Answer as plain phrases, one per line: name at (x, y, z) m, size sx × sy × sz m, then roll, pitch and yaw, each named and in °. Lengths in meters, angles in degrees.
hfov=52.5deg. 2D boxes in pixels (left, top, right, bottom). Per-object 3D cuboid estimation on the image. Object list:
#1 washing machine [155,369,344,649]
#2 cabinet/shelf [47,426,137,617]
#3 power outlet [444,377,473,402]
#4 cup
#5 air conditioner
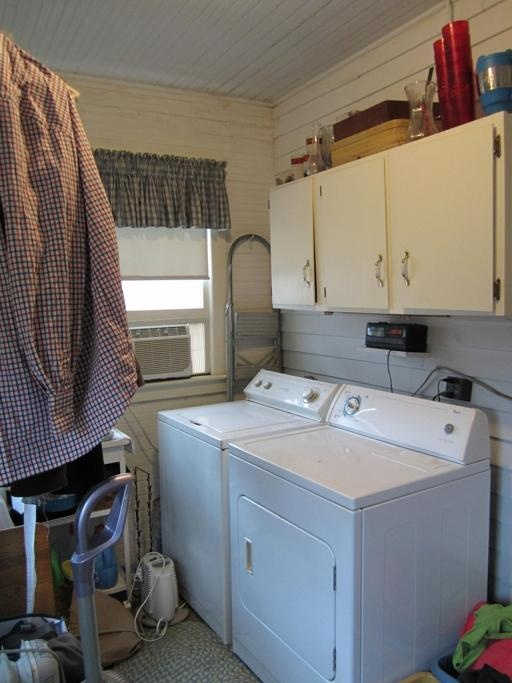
washing machine at (-0.172, 0.520, 2.996) m, size 0.920 × 1.798 × 1.190 m, roll -2°, pitch 5°, yaw -27°
cabinet/shelf at (-0.769, 0.824, 2.497) m, size 0.432 × 0.836 × 0.707 m, roll -5°, pitch 6°, yaw -23°
power outlet at (0.793, 0.183, 2.039) m, size 0.074 × 0.124 × 0.139 m, roll 2°, pitch -1°, yaw -9°
cup at (0.619, -0.859, 1.751) m, size 0.117 × 0.327 × 0.274 m, roll -4°, pitch 6°, yaw -18°
air conditioner at (-0.507, 0.058, 2.748) m, size 0.307 × 0.304 × 0.105 m, roll -8°, pitch 5°, yaw -39°
